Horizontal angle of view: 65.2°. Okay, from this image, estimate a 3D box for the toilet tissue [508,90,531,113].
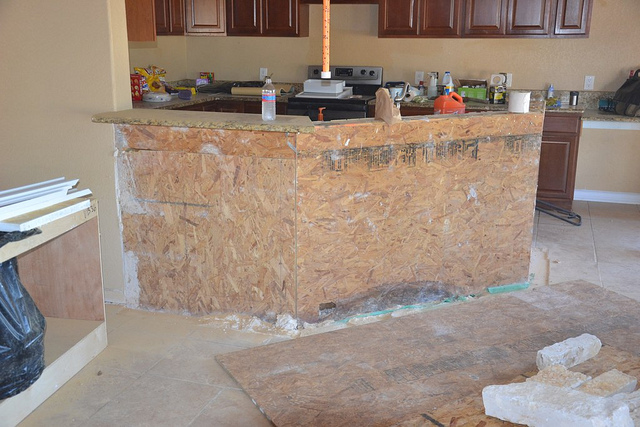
[{"bbox_3d":[1.491,-0.838,3.755,0.167,0.151,0.175,-15,21,-38],"label":"toilet tissue"}]

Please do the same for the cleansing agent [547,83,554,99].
[{"bbox_3d":[2.637,-1.403,5.733,0.073,0.158,0.251,6,18,22],"label":"cleansing agent"}]

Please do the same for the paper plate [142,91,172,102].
[{"bbox_3d":[-1.772,-1.253,5.433,0.276,0.087,0.144,-6,18,-16],"label":"paper plate"}]

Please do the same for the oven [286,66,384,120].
[{"bbox_3d":[0.183,-1.425,5.887,1.071,0.556,0.954,1,17,7],"label":"oven"}]

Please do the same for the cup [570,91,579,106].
[{"bbox_3d":[2.876,-1.307,5.693,0.091,0.152,0.178,6,19,24],"label":"cup"}]

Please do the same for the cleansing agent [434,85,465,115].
[{"bbox_3d":[1.003,-0.851,3.910,0.263,0.235,0.150,-7,28,-22],"label":"cleansing agent"}]

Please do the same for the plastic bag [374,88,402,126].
[{"bbox_3d":[0.462,-0.723,3.402,0.190,0.240,0.157,3,18,14],"label":"plastic bag"}]

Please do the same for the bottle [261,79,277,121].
[{"bbox_3d":[-0.347,-0.768,3.376,0.096,0.256,0.317,-4,17,-6],"label":"bottle"}]
